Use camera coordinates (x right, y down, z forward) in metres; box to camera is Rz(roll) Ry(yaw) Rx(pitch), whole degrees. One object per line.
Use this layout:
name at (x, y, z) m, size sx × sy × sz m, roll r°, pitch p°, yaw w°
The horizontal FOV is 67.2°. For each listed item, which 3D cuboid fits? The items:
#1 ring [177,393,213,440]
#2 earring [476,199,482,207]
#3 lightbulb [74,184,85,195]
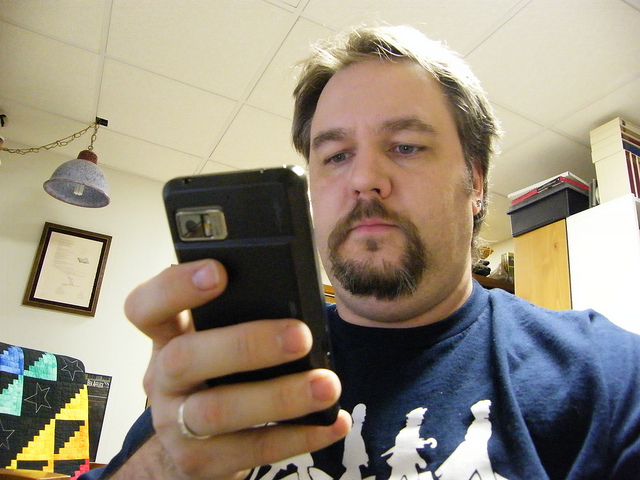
ring at (-0.211, 0.291, 0.788) m, size 0.044 × 0.072 × 0.020 m, roll 1°, pitch -13°, yaw -17°
earring at (0.421, -0.099, 1.287) m, size 0.019 × 0.017 × 0.006 m, roll -10°, pitch 33°, yaw -45°
lightbulb at (-1.319, -0.274, 2.630) m, size 0.045 × 0.047 × 0.079 m, roll 3°, pitch -13°, yaw -28°
